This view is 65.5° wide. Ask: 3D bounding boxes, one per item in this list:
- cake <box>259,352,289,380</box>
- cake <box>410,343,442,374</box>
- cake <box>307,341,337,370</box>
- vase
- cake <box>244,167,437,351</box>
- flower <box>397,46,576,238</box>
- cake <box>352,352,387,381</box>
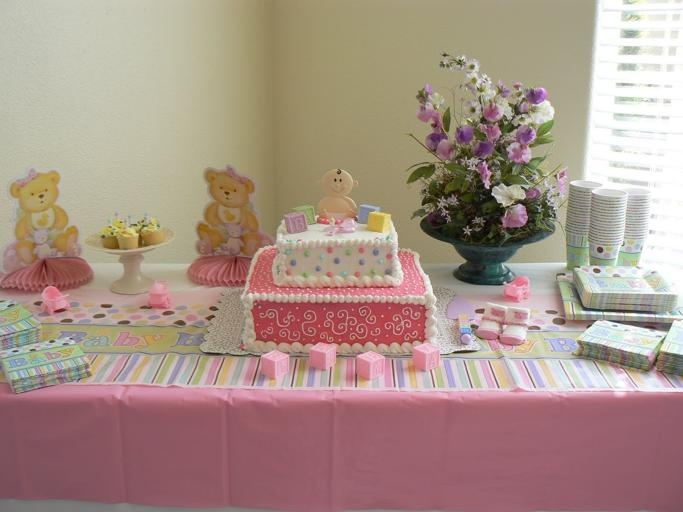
[{"bbox_3d":[-0.196,0.321,1.610,0.085,0.068,0.087,23,16,38],"label":"cake"},{"bbox_3d":[0.250,0.301,1.584,0.087,0.066,0.083,-16,24,-35],"label":"cake"},{"bbox_3d":[-0.056,0.293,1.594,0.072,0.064,0.079,-4,15,-38],"label":"cake"},{"bbox_3d":[0.586,-0.019,2.178,0.514,0.169,0.445,7,19,21],"label":"vase"},{"bbox_3d":[-0.014,0.014,1.800,0.713,0.428,0.485,0,29,1],"label":"cake"},{"bbox_3d":[0.620,-0.381,2.129,0.687,0.582,0.572,-2,11,-23],"label":"flower"},{"bbox_3d":[0.075,0.318,1.563,0.088,0.067,0.077,5,18,-17],"label":"cake"}]
